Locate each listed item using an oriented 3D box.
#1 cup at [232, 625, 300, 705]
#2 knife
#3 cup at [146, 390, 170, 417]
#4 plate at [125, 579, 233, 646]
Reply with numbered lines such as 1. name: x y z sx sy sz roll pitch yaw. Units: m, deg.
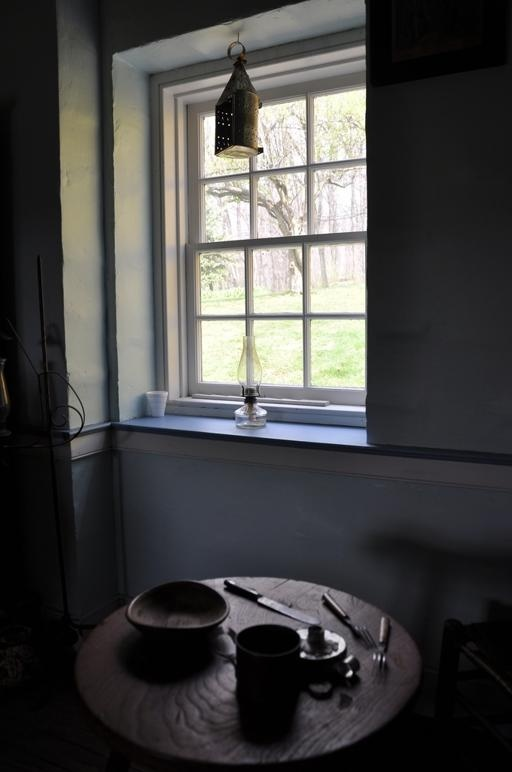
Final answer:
1. cup: 0.016 0.376 0.855 0.092 0.082 0.076 0 6 8
2. knife: 0.023 0.423 1.197 0.060 0.033 0.272 -9 12 -36
3. cup: -0.376 0.066 2.346 0.082 0.099 0.085 2 3 0
4. plate: -0.126 0.388 1.035 0.164 0.059 0.192 1 4 -10
